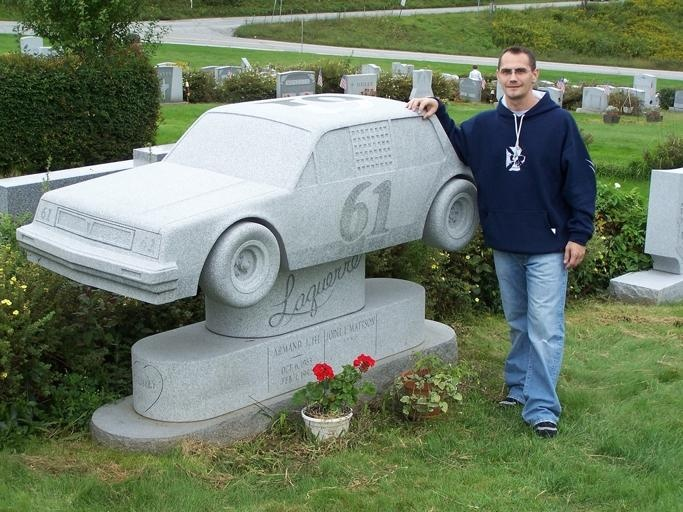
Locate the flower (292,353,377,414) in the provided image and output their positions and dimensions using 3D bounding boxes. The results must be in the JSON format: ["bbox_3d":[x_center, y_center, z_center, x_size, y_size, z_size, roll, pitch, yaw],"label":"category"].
[{"bbox_3d":[-0.032,1.068,5.922,0.479,0.397,0.491,10,13,27],"label":"flower"}]

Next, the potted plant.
[{"bbox_3d":[0.803,1.097,6.423,0.474,0.402,0.657,6,12,33],"label":"potted plant"}]

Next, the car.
[{"bbox_3d":[-0.560,-0.589,6.066,3.067,1.153,1.755,-13,19,-39],"label":"car"}]

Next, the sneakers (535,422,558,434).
[{"bbox_3d":[1.682,1.397,5.976,0.157,0.077,0.083,10,18,31],"label":"sneakers"}]
